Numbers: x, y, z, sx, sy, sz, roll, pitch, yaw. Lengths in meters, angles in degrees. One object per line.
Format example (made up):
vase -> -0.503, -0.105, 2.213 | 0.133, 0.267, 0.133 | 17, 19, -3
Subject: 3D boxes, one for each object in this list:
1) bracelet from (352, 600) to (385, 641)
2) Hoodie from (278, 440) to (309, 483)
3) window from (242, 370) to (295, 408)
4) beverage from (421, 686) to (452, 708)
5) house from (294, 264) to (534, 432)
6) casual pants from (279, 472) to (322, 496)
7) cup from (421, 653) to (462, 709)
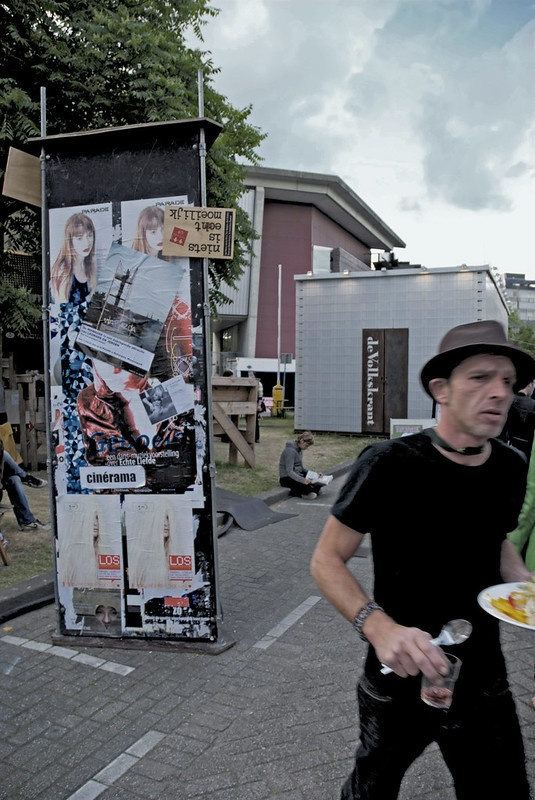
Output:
bracelet -> 0.274, 0.599, 2.045 | 0.091, 0.095, 0.030 | -10, -10, -3
Hoodie -> 0.395, 0.937, 11.378 | 0.516, 0.572, 0.594 | 2, -2, 3
window -> 0.225, -0.404, 27.806 | 1.970, 1.672, 1.007 | 0, -2, -4
beverage -> 0.450, 0.785, 1.987 | 0.081, 0.058, 0.033 | 8, 3, 13
house -> 3.552, -1.482, 23.064 | 4.318, 3.581, 5.928 | 0, 0, 14
casual pants -> 0.490, 1.264, 11.282 | 0.558, 0.175, 0.305 | 7, -8, 8
cup -> 0.470, 0.755, 2.032 | 0.089, 0.135, 0.093 | 17, -13, 4
